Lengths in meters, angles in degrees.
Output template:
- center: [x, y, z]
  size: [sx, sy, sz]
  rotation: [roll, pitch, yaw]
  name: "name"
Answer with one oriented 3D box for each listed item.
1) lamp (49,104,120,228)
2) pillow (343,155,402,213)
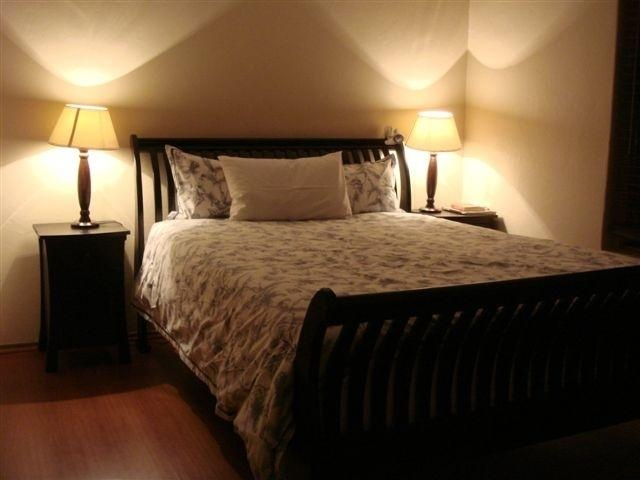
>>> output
- center: [-1.367, -0.442, 2.882]
  size: [0.358, 0.700, 0.330]
  rotation: [-5, 12, -22]
  name: "lamp"
- center: [0.344, -0.382, 3.389]
  size: [0.397, 0.279, 0.115]
  rotation: [-24, 7, -43]
  name: "pillow"
